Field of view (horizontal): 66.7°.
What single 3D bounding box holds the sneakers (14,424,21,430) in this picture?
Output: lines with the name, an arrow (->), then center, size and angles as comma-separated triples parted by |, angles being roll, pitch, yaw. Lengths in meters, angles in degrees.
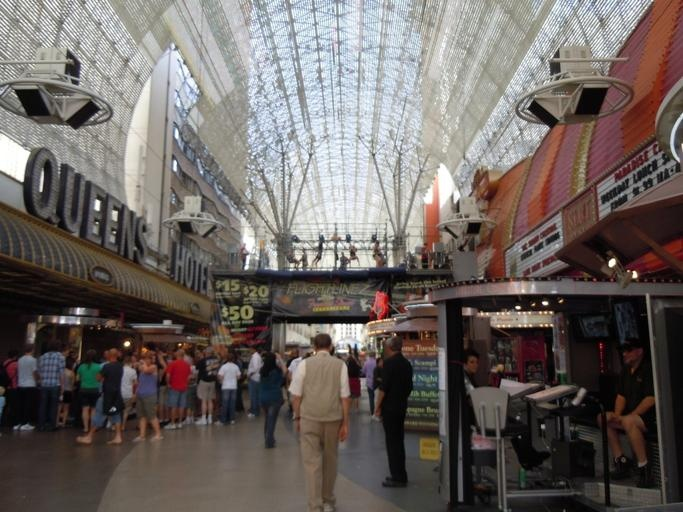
sneakers -> -8.209, 4.296, 13.024 | 0.161, 0.126, 0.568 | 8, -17, -30

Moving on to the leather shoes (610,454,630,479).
leather shoes -> 3.905, 2.952, 7.250 | 0.338, 0.301, 0.168 | 9, -16, -33

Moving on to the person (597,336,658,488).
person -> 4.043, 2.134, 7.243 | 0.649, 1.946, 0.784 | -8, -15, 27

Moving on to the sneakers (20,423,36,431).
sneakers -> -7.971, 4.277, 13.039 | 0.274, 0.122, 0.184 | 7, -13, -11

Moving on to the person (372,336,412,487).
person -> 0.864, 2.507, 8.557 | 0.614, 2.363, 0.578 | -2, -13, 4

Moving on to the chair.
chair -> 2.382, 2.762, 7.658 | 0.686, 1.681, 1.395 | -6, -15, 22
